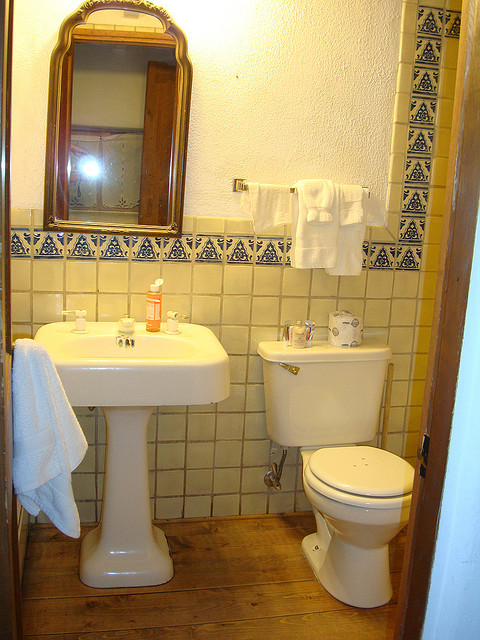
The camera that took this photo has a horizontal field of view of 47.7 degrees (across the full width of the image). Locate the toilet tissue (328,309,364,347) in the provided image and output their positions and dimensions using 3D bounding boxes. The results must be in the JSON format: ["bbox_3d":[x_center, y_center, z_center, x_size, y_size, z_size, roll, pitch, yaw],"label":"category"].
[{"bbox_3d":[0.372,0.031,1.931,0.116,0.120,0.119,0,5,-3],"label":"toilet tissue"}]

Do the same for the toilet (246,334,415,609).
[{"bbox_3d":[0.327,0.494,1.816,0.473,0.728,0.665,-1,7,-4],"label":"toilet"}]

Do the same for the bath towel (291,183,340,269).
[{"bbox_3d":[0.240,-0.329,1.836,0.181,0.328,0.044,11,20,41],"label":"bath towel"}]

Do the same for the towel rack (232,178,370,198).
[{"bbox_3d":[0.193,-0.436,1.866,0.407,0.102,0.068,0,4,-10],"label":"towel rack"}]

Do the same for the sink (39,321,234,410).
[{"bbox_3d":[-0.319,0.143,1.602,0.511,0.242,0.521,0,11,-20],"label":"sink"}]

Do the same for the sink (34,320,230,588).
[{"bbox_3d":[-0.353,0.424,1.707,0.600,0.742,0.520,0,4,-16],"label":"sink"}]

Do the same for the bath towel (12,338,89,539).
[{"bbox_3d":[-0.324,0.215,0.932,0.114,0.373,0.146,1,11,-16],"label":"bath towel"}]
